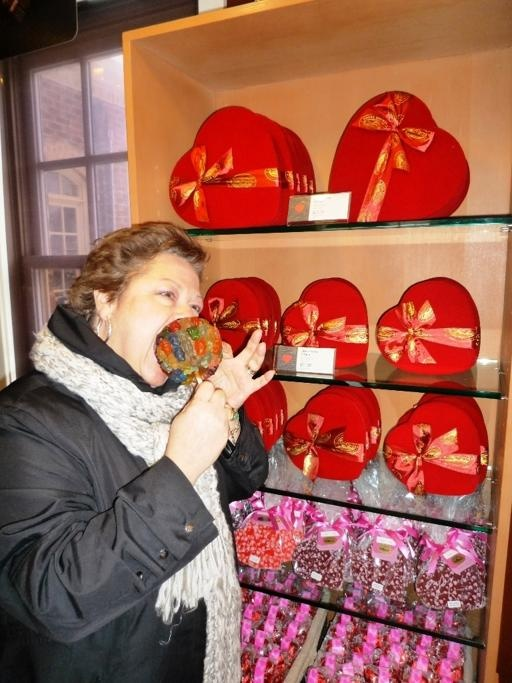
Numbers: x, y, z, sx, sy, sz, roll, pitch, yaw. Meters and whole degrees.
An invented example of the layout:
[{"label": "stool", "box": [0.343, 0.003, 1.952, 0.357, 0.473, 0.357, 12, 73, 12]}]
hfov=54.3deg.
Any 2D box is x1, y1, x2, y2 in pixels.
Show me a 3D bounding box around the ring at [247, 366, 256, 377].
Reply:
[{"label": "ring", "box": [-0.005, 0.070, 1.144, 0.019, 0.020, 0.007, 5, 3, -2]}]
